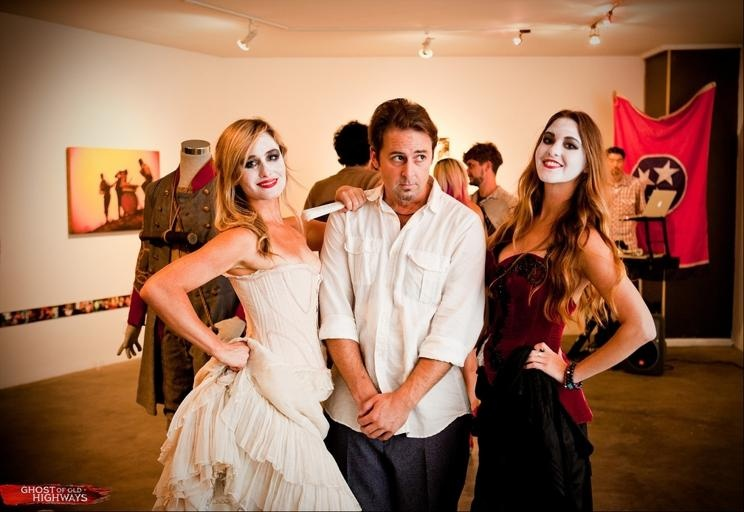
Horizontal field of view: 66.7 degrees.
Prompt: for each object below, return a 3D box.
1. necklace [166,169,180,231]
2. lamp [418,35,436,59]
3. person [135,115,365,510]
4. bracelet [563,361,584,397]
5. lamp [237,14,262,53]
[{"bbox_3d":[-1.026,-0.287,2.991,0.063,0.308,0.054,0,-15,14],"label":"necklace"},{"bbox_3d":[0.299,-1.138,3.101,0.069,0.137,0.093,-1,8,6],"label":"lamp"},{"bbox_3d":[-0.544,0.271,2.394,0.806,1.693,0.508,-6,9,-22],"label":"person"},{"bbox_3d":[0.911,0.549,2.529,0.060,0.120,0.095,2,-4,23],"label":"bracelet"},{"bbox_3d":[-0.756,-1.304,3.376,0.099,0.174,0.292,-7,9,-29],"label":"lamp"}]
